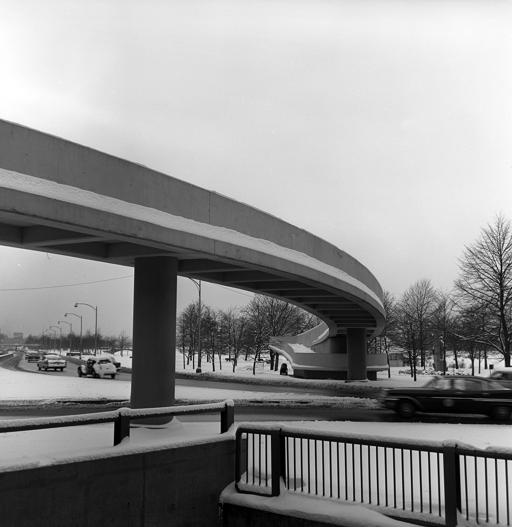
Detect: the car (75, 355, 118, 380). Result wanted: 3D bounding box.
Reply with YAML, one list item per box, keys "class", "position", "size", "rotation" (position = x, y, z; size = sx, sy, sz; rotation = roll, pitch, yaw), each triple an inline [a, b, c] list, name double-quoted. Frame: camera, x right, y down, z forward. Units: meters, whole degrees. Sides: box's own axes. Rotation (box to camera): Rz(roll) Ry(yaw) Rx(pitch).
- class: "car"
  position: [-10.702, 7.209, 41.488]
  size: [1.485, 1.416, 2.554]
  rotation: [12, -13, -42]
